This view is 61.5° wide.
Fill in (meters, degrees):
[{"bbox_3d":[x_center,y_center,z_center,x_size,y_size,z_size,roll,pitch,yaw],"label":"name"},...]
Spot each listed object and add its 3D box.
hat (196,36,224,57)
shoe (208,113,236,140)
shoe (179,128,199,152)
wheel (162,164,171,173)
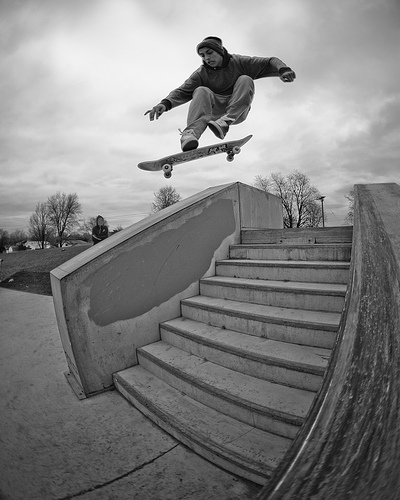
[{"bbox_3d":[0.166,-2.981,4.863,0.391,0.238,0.483,-1,2,2],"label":"hat"},{"bbox_3d":[0.351,-1.903,5.097,0.450,0.376,0.260,-2,2,-13],"label":"shoe"},{"bbox_3d":[-0.153,-1.659,4.986,0.246,0.305,0.284,-1,2,-5],"label":"shoe"},{"bbox_3d":[-0.502,-1.262,5.132,0.138,0.141,0.148,-1,2,0],"label":"wheel"}]
